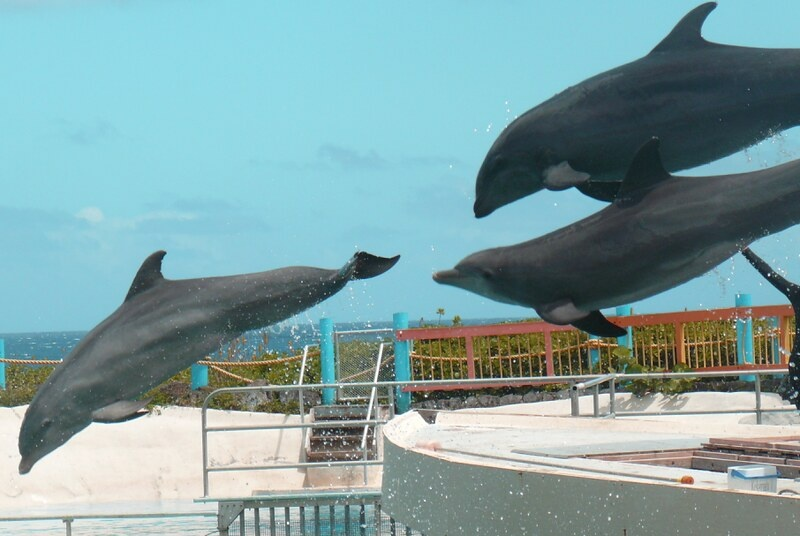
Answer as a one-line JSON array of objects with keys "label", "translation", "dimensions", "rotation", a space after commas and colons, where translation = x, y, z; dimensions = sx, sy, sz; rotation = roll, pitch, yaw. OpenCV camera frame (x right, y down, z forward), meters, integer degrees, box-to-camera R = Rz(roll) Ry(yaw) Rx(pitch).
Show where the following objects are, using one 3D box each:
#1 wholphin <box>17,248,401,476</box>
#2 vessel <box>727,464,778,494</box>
[{"label": "wholphin", "translation": [-2.859, 1.009, 17.895], "dimensions": [4.433, 2.419, 0.699], "rotation": [-4, -12, 17]}, {"label": "vessel", "translation": [3.849, 2.291, 15.349], "dimensions": [0.443, 0.343, 0.302], "rotation": [0, 0, 7]}]
